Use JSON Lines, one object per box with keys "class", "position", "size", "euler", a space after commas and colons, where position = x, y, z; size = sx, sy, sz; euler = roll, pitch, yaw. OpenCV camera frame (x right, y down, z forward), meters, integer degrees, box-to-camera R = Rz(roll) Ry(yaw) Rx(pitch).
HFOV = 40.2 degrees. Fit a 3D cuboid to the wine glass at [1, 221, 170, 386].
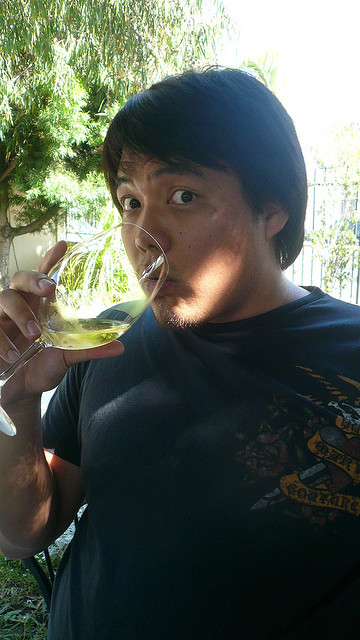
{"class": "wine glass", "position": [-0.178, -0.025, 0.906], "size": [0.276, 0.314, 0.156], "euler": [9, 6, 35]}
